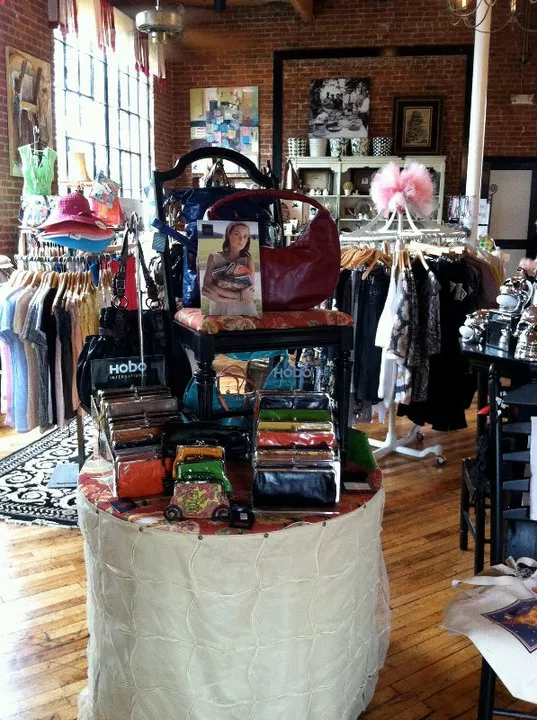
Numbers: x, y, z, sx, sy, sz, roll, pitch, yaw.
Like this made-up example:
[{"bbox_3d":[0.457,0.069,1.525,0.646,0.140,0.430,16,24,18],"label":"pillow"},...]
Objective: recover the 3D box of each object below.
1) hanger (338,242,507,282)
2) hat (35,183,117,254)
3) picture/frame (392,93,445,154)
[{"bbox_3d":[0.772,-0.568,3.074,0.590,0.200,0.438,-5,9,-37],"label":"hanger"},{"bbox_3d":[-0.938,-0.671,2.715,0.268,0.192,0.365,-9,28,-24],"label":"hat"},{"bbox_3d":[1.954,-3.101,7.380,0.746,0.918,0.064,1,6,3],"label":"picture/frame"}]
